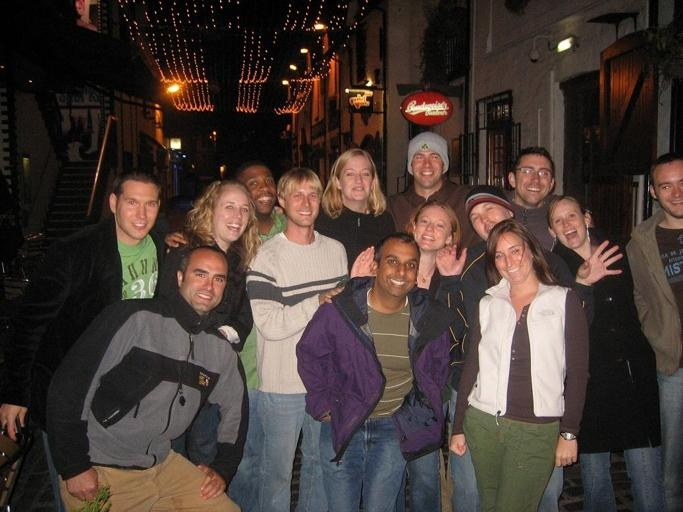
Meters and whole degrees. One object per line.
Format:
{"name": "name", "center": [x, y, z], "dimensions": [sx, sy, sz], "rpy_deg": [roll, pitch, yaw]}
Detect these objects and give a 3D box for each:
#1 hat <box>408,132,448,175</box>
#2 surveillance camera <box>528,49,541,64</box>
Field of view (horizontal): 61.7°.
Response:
{"name": "hat", "center": [1.167, -1.317, 7.554], "dimensions": [0.478, 0.501, 0.527], "rpy_deg": [1, -13, 5]}
{"name": "surveillance camera", "center": [3.984, -4.137, 11.867], "dimensions": [0.216, 0.332, 0.102], "rpy_deg": [2, 6, 6]}
